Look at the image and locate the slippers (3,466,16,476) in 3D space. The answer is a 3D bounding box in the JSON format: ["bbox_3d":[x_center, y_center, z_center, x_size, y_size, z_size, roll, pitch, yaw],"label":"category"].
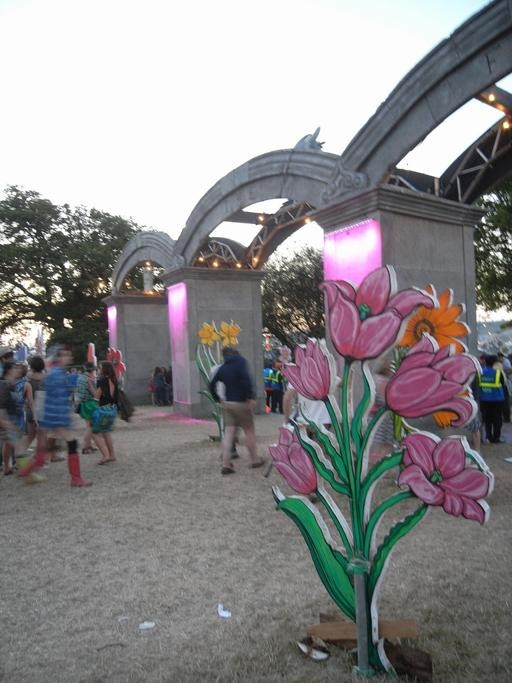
[{"bbox_3d":[-3.447,1.794,7.227,0.078,0.081,0.203,2,1,-1],"label":"slippers"}]

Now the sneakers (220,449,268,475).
[{"bbox_3d":[-0.154,1.572,6.880,0.696,0.299,0.231,-6,1,-25],"label":"sneakers"}]

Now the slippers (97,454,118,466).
[{"bbox_3d":[-2.204,1.758,7.686,0.279,0.110,0.101,4,-6,-36],"label":"slippers"}]
